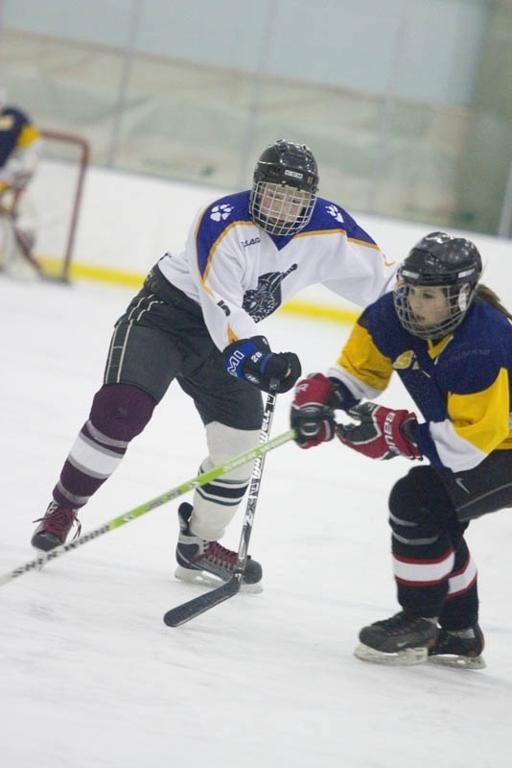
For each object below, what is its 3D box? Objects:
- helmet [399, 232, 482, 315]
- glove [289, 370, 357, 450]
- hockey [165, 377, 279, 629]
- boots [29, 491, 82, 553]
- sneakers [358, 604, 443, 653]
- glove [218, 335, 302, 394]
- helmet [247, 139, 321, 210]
[{"bbox_3d":[0.422,-0.254,1.873,0.206,0.166,0.166,-10,16,-33],"label":"helmet"},{"bbox_3d":[0.152,0.064,2.016,0.085,0.179,0.146,6,-27,44],"label":"glove"},{"bbox_3d":[-0.094,0.350,2.279,0.111,0.692,0.083,37,-28,-21],"label":"hockey"},{"bbox_3d":[-0.512,0.363,2.095,0.103,0.076,0.235,11,3,3],"label":"boots"},{"bbox_3d":[0.335,0.567,1.887,0.181,0.076,0.080,5,22,-10],"label":"sneakers"},{"bbox_3d":[0.009,-0.041,1.987,0.189,0.117,0.075,20,-27,-11],"label":"glove"},{"bbox_3d":[0.073,-0.536,2.113,0.180,0.180,0.196,13,8,-8],"label":"helmet"}]
